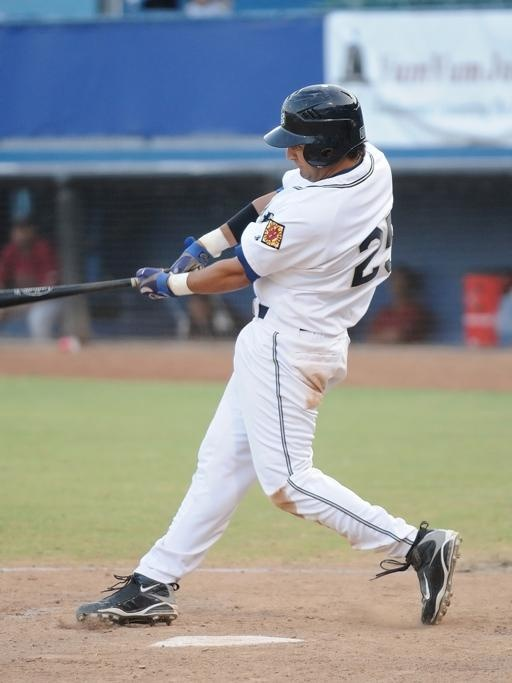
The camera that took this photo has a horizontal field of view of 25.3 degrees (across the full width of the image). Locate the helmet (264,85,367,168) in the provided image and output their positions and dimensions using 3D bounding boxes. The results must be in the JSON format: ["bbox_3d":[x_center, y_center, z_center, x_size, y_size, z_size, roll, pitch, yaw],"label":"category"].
[{"bbox_3d":[0.216,-0.776,4.028,0.411,0.228,0.262,-8,30,0],"label":"helmet"}]

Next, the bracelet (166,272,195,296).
[{"bbox_3d":[-0.265,-0.202,4.072,0.084,0.063,0.093,1,5,-7],"label":"bracelet"}]

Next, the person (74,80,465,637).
[{"bbox_3d":[0.117,0.051,4.021,1.238,1.594,0.447,4,1,13],"label":"person"}]

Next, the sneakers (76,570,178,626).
[{"bbox_3d":[-0.420,0.918,4.008,0.479,0.194,0.139,2,-12,-4],"label":"sneakers"}]

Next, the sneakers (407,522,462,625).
[{"bbox_3d":[0.626,0.803,4.013,0.227,0.364,0.129,1,29,3],"label":"sneakers"}]

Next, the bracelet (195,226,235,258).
[{"bbox_3d":[-0.151,-0.377,4.322,0.106,0.104,0.127,42,8,-2],"label":"bracelet"}]
